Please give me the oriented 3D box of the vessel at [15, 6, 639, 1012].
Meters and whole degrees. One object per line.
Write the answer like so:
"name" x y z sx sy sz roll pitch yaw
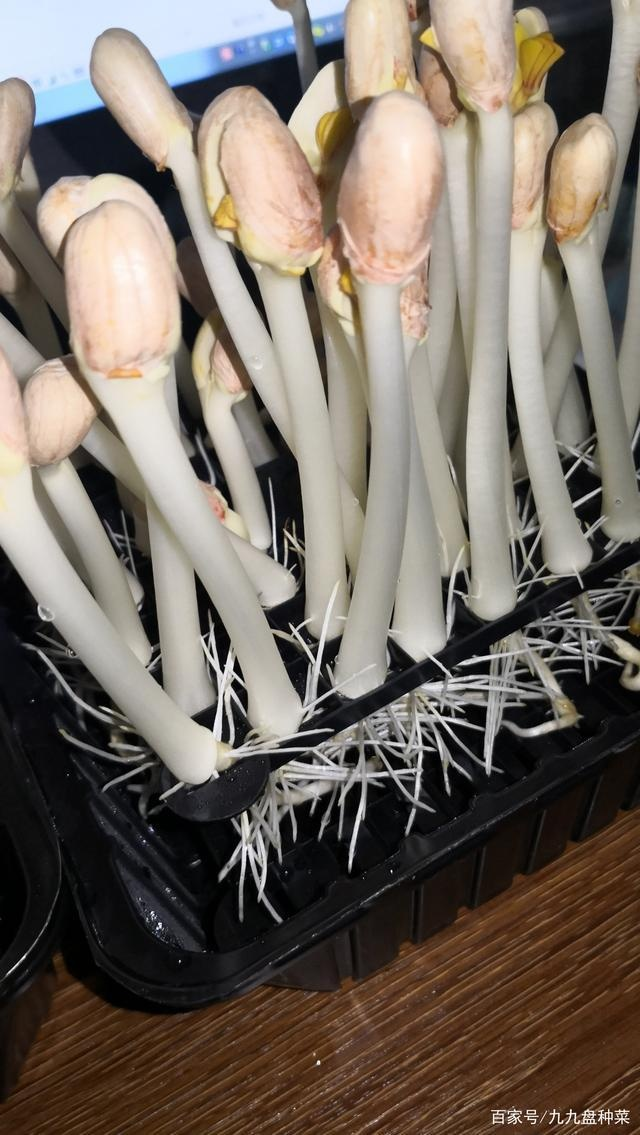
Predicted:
"vessel" 0.006 -0.052 0.382 0.253 0.117 0.368 -20 73 11
